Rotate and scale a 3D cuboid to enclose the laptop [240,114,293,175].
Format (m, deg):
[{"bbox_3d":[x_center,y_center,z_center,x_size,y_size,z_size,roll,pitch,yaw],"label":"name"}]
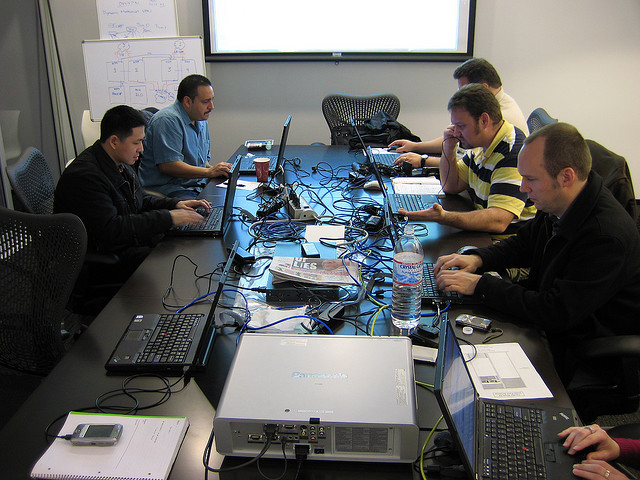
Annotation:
[{"bbox_3d":[-0.357,-0.602,3.387,0.422,0.363,0.563,2,30,2],"label":"laptop"}]

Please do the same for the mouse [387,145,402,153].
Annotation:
[{"bbox_3d":[0.572,-0.710,3.691,0.091,0.030,0.069,-3,19,15],"label":"mouse"}]

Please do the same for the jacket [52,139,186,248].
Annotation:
[{"bbox_3d":[-1.068,-0.239,2.750,0.662,0.692,0.565,-1,20,-4],"label":"jacket"}]

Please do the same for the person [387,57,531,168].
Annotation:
[{"bbox_3d":[0.858,-0.898,3.575,1.045,0.870,0.792,3,15,3],"label":"person"}]

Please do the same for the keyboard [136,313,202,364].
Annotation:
[{"bbox_3d":[-0.531,0.348,1.691,0.156,0.052,0.239,-2,22,5],"label":"keyboard"}]

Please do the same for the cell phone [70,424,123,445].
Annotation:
[{"bbox_3d":[-0.645,0.559,1.371,0.089,0.020,0.064,1,23,-8],"label":"cell phone"}]

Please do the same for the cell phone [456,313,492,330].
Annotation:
[{"bbox_3d":[0.576,0.308,1.776,0.123,0.013,0.073,8,17,35],"label":"cell phone"}]

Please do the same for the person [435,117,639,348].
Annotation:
[{"bbox_3d":[0.857,-0.142,2.448,0.869,1.560,0.841,1,20,11],"label":"person"}]

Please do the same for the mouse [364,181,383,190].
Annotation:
[{"bbox_3d":[0.334,-0.339,2.942,0.104,0.036,0.062,4,22,5],"label":"mouse"}]

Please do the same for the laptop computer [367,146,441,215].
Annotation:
[{"bbox_3d":[0.477,-0.305,2.687,0.360,0.282,0.431,-7,24,0],"label":"laptop computer"}]

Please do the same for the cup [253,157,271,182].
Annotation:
[{"bbox_3d":[-0.373,-0.457,3.074,0.135,0.154,0.134,0,15,0],"label":"cup"}]
